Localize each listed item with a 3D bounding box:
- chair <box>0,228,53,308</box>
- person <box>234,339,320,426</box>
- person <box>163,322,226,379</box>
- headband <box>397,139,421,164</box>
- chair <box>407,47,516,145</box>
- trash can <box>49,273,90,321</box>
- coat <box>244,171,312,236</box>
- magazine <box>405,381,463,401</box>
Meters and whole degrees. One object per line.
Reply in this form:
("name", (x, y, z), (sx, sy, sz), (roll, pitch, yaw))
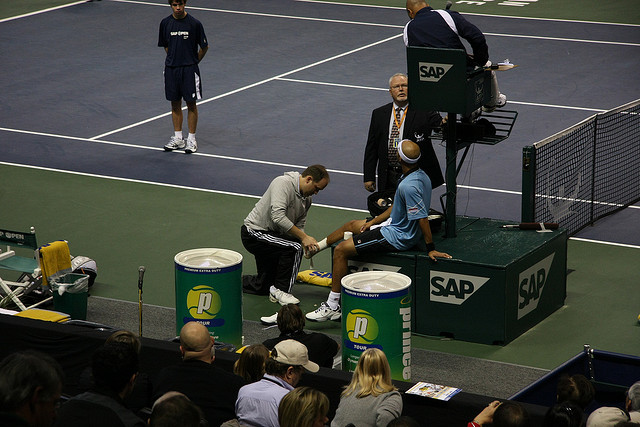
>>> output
("chair", (-4.663, 0.722, 11.147), (0.759, 1.222, 2.072), (1, 7, -21))
("person", (-0.432, 1.616, 6.697), (0.601, 0.930, 0.525), (-6, 18, -43))
("person", (-1.315, 1.411, 7.166), (0.920, 0.541, 0.638), (1, -6, -22))
("headband", (1.205, -0.866, 9.928), (0.312, 0.317, 0.245), (6, 7, 16))
("chair", (2.090, -1.780, 10.645), (1.337, 1.451, 1.683), (6, 18, 33))
("trash can", (-3.631, 1.193, 10.180), (0.561, 0.670, 0.433), (6, 7, 21))
("coat", (-0.626, -0.148, 10.802), (0.896, 0.982, 0.591), (3, 7, -6))
("magazine", (1.147, 1.837, 7.308), (0.448, 0.017, 0.323), (5, 16, 29))
